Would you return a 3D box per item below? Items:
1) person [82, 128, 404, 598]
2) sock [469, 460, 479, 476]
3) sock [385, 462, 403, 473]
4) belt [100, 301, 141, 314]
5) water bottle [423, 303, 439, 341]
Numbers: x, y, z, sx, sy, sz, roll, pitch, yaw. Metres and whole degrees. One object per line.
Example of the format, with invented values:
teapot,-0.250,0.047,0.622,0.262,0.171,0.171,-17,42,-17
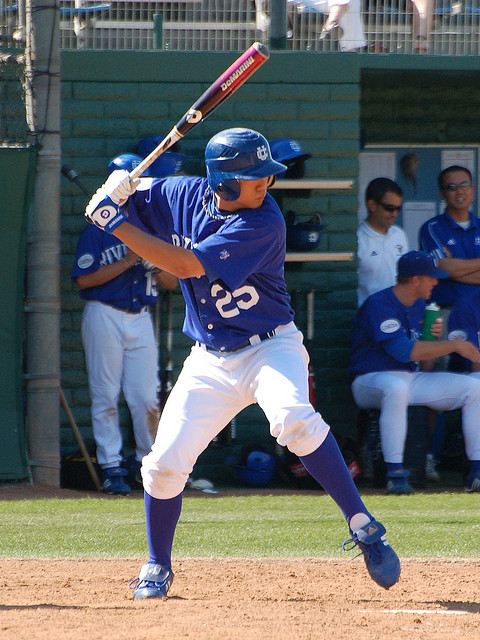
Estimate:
person,0.001,0.144,4.833,1.064,1.652,0.453,2,4,4
sock,1.190,0.774,6.928,0.054,0.075,0.071,-3,-12,-4
sock,0.783,0.767,6.951,0.055,0.051,0.064,3,-9,-13
belt,-0.604,-0.054,7.075,0.202,0.056,0.062,0,3,-13
water bottle,1.017,0.020,7.266,0.078,0.194,0.221,2,3,8
